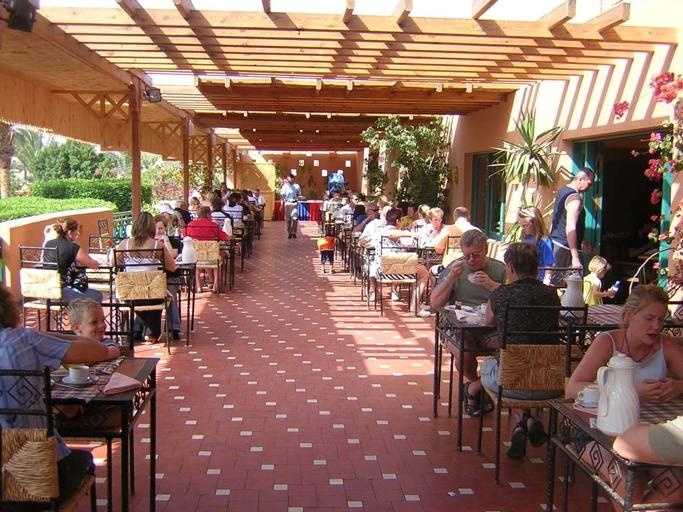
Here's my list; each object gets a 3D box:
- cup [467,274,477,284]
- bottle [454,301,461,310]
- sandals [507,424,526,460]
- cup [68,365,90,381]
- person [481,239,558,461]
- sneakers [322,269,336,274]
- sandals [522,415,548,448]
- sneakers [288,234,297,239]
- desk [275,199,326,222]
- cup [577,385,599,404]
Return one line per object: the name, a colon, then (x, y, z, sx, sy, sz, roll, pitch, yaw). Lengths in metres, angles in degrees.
cup: (1.091, 0.197, 4.775, 0.072, 0.071, 0.057, -9, 10, -13)
bottle: (0.994, 0.425, 4.859, 0.050, 0.060, 0.052, 5, 12, 13)
sandals: (1.292, 1.365, 4.202, 0.104, 0.260, 0.106, 5, -10, 9)
cup: (-1.455, 0.638, 3.162, 0.078, 0.067, 0.086, 4, 9, -1)
person: (1.293, 0.697, 4.111, 0.528, 1.581, 0.590, 1, 5, 12)
sneakers: (-0.270, 0.355, 12.528, 0.345, 0.136, 0.105, -2, 12, -8)
sandals: (1.440, 1.281, 4.215, 0.112, 0.283, 0.116, -8, -14, 1)
sneakers: (-1.710, -0.673, 20.029, 0.327, 0.251, 0.129, 4, 0, -12)
desk: (-2.148, -2.356, 29.683, 1.852, 0.923, 1.915, -1, 8, -12)
cup: (1.313, 0.730, 3.044, 0.117, 0.085, 0.077, -6, 8, -12)
